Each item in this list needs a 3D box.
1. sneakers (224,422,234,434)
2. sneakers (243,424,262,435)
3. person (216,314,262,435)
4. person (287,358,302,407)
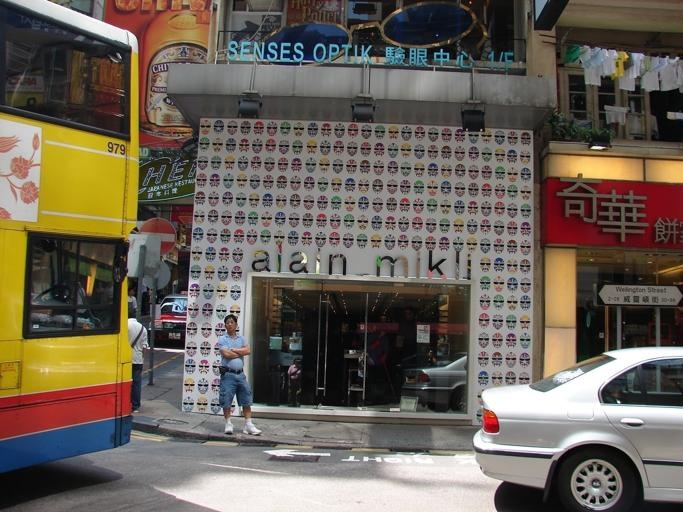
[{"bbox_3d":[-2.014,3.020,14.490,0.168,0.190,0.363,3,1,-7],"label":"sneakers"},{"bbox_3d":[-1.666,3.075,14.546,0.409,0.175,0.146,-1,-6,24],"label":"sneakers"},{"bbox_3d":[-1.859,2.101,14.522,0.703,1.914,0.497,3,1,-21],"label":"person"},{"bbox_3d":[-0.959,2.531,16.447,0.280,0.878,0.216,3,1,-4],"label":"person"}]
